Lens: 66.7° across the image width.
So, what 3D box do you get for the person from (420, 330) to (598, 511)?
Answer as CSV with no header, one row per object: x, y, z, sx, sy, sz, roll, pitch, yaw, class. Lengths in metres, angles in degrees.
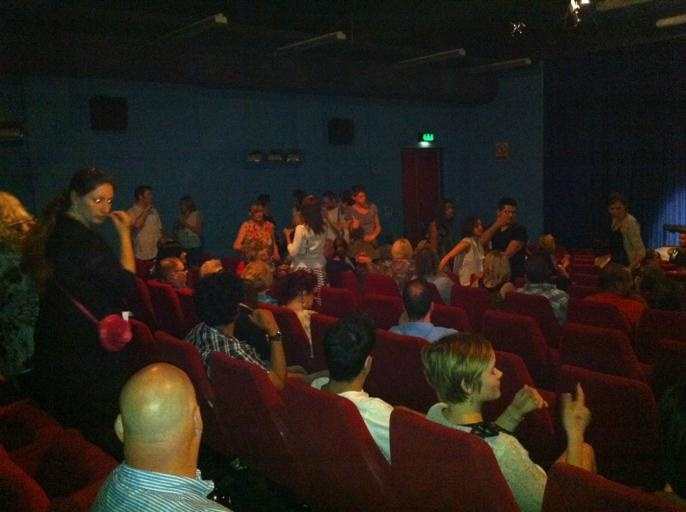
0.672,0.676,2.181,0.761,0.607,0.468,6,9,21,person

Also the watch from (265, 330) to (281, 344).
-0.427,0.486,3.166,0.078,0.082,0.084,-6,-8,23,watch
